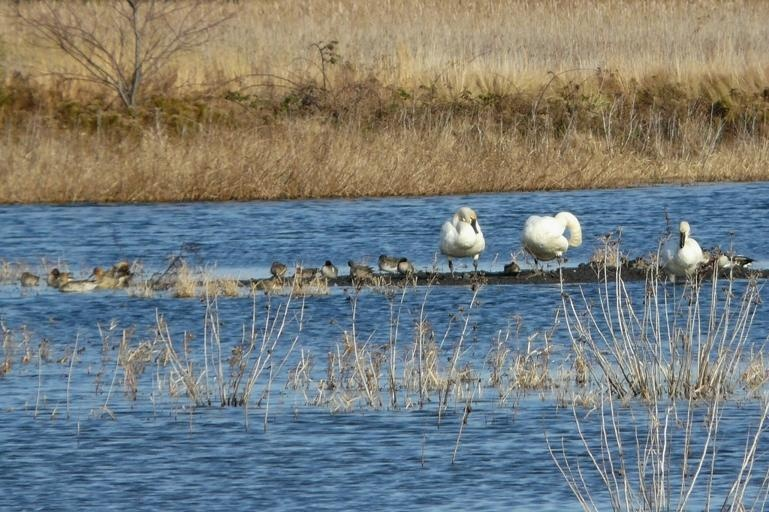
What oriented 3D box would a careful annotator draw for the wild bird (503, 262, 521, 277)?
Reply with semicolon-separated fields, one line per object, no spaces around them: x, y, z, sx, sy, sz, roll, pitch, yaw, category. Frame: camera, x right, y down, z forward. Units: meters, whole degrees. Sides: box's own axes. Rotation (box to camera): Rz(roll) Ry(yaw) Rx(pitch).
2.490;0.221;28.665;0.302;0.284;0.436;-3;10;2;wild bird

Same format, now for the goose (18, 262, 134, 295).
-5.933;0.419;28.083;2.044;0.435;0.885;-2;10;6;goose

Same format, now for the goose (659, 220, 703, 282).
5.500;-0.136;26.782;0.828;1.069;0.602;-6;10;-19;goose

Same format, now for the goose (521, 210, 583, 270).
3.253;-0.404;28.861;1.379;1.949;1.616;1;1;1;goose

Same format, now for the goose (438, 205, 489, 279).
1.546;-0.289;28.662;0.799;1.337;1.020;0;7;-4;goose
